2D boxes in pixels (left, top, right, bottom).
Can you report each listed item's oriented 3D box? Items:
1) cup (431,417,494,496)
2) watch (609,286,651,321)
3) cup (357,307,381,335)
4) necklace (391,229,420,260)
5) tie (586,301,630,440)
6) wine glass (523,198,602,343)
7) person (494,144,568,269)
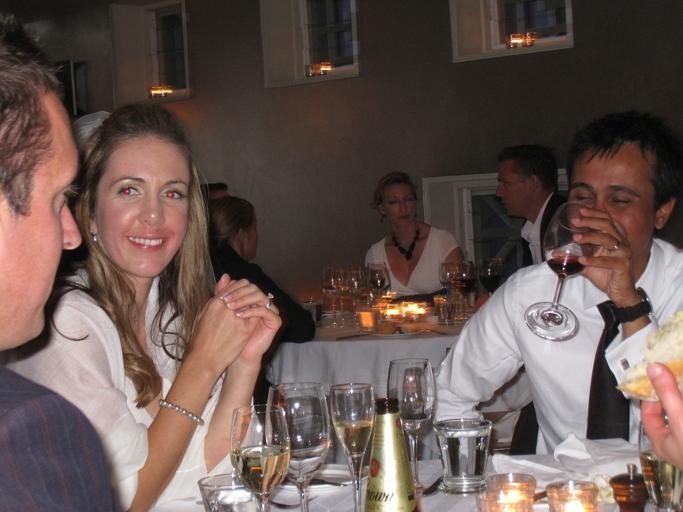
[{"bbox_3d":[0.286,0.483,1.446,0.145,0.161,0.144,0,-14,0],"label":"cup"},{"bbox_3d":[0.796,0.151,1.702,0.104,0.075,0.115,-19,-6,-3],"label":"watch"},{"bbox_3d":[0.159,0.383,3.592,0.128,0.098,0.113,0,-1,-6],"label":"cup"},{"bbox_3d":[0.550,-0.074,5.096,0.198,0.264,0.082,-7,-10,24],"label":"necklace"},{"bbox_3d":[0.764,0.292,1.690,0.062,0.316,0.064,5,-29,10],"label":"tie"},{"bbox_3d":[0.669,0.052,1.863,0.197,0.431,0.269,1,8,15],"label":"wine glass"},{"bbox_3d":[1.624,-0.428,4.946,0.597,1.034,0.600,1,18,31],"label":"person"}]
